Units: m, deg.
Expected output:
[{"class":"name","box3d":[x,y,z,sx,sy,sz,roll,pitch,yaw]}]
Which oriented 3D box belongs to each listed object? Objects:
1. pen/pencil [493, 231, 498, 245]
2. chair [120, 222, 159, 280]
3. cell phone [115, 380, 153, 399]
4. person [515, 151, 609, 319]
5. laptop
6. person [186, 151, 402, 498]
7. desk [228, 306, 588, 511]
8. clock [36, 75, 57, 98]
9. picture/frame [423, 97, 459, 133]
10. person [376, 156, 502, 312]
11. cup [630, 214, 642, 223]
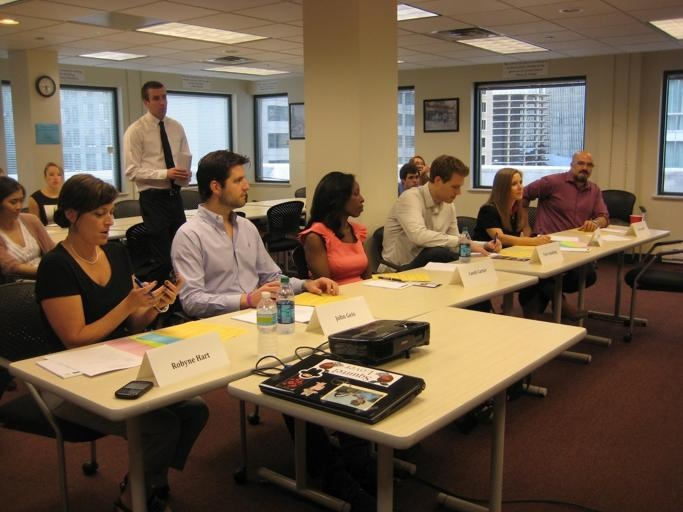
[{"class":"pen/pencil","box3d":[1.261,-0.141,4.326,0.021,0.020,0.145,-30,26,55]},{"class":"chair","box3d":[-1.651,-0.033,4.391,0.312,0.442,0.269,38,45,26]},{"class":"cell phone","box3d":[-0.700,0.452,1.799,0.092,0.023,0.128,1,11,10]},{"class":"person","box3d":[2.398,-0.268,5.748,0.716,1.687,0.912,-2,11,-43]},{"class":"laptop","box3d":[0.019,0.433,1.787,0.485,0.064,0.332,5,13,29]},{"class":"person","box3d":[-0.334,0.349,2.998,1.134,1.814,0.789,2,7,25]},{"class":"desk","box3d":[0.260,0.723,2.365,0.617,0.430,0.972,5,9,36]},{"class":"clock","box3d":[-4.393,-2.519,7.884,0.055,0.312,0.294,7,14,36]},{"class":"picture/frame","box3d":[1.801,-2.541,9.589,0.701,0.612,0.016,-5,-2,-14]},{"class":"person","box3d":[0.954,-0.257,4.897,1.271,1.633,0.973,-1,2,39]},{"class":"cup","box3d":[2.759,-0.337,4.919,0.123,0.090,0.112,0,3,0]}]
